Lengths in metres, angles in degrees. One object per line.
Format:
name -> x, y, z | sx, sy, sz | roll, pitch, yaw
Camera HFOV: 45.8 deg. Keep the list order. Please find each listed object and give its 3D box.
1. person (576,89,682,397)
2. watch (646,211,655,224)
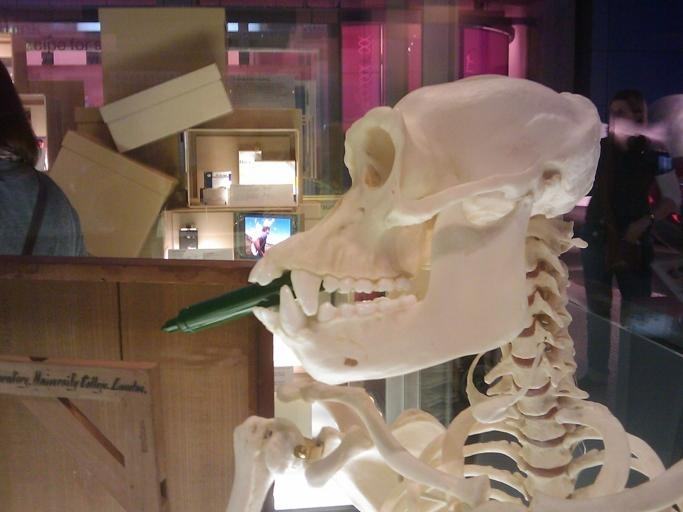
person -> 0.792, -0.007, 2.262 | 0.280, 0.896, 0.170 | 4, 10, 34
watch -> 0.845, -0.103, 2.215 | 0.018, 0.023, 0.025 | 1, -19, 3
